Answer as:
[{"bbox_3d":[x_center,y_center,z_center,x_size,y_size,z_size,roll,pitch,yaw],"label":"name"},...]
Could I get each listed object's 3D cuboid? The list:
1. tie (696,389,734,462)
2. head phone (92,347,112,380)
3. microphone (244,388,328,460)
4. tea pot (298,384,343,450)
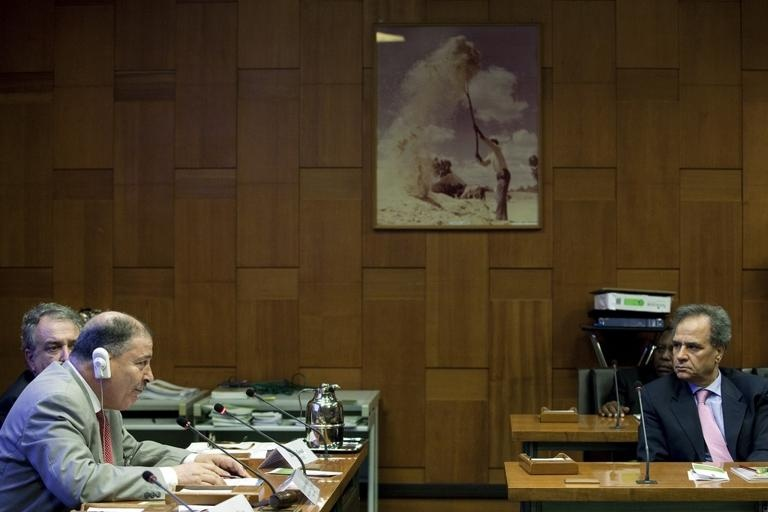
[{"bbox_3d":[2.517,1.320,9.419,0.261,0.425,0.112,-10,-6,19],"label":"tie"},{"bbox_3d":[-1.972,0.754,8.590,0.113,0.229,0.102,-2,16,8],"label":"head phone"},{"bbox_3d":[-0.776,1.359,9.837,0.228,0.157,1.508,-12,17,-34],"label":"microphone"},{"bbox_3d":[-0.457,1.226,9.442,0.285,0.493,0.297,-1,-5,0],"label":"tea pot"}]
